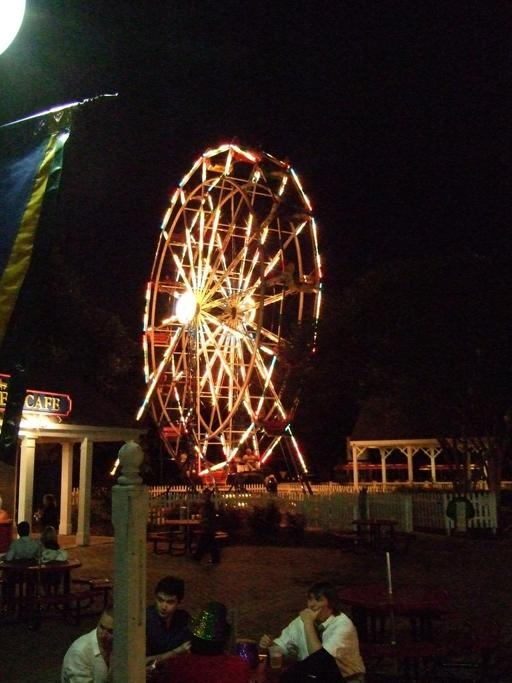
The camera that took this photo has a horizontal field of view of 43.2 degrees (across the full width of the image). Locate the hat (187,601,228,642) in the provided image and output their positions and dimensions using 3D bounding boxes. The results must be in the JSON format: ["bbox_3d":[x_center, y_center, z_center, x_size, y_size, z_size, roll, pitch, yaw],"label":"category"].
[{"bbox_3d":[-0.197,1.320,3.036,0.177,0.095,0.169,17,-2,15],"label":"hat"}]

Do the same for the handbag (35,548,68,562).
[{"bbox_3d":[-2.824,2.995,9.011,0.291,0.084,0.208,2,-10,7],"label":"handbag"}]

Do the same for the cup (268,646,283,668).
[{"bbox_3d":[0.113,1.975,4.075,0.106,0.122,0.110,-1,-7,0],"label":"cup"}]
